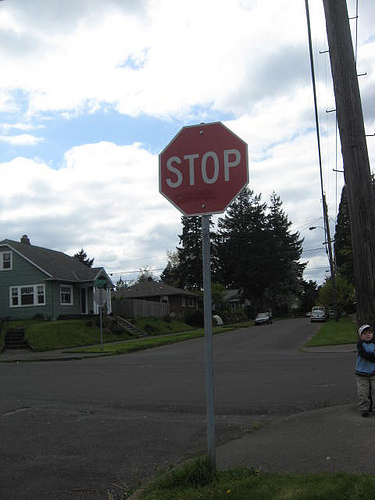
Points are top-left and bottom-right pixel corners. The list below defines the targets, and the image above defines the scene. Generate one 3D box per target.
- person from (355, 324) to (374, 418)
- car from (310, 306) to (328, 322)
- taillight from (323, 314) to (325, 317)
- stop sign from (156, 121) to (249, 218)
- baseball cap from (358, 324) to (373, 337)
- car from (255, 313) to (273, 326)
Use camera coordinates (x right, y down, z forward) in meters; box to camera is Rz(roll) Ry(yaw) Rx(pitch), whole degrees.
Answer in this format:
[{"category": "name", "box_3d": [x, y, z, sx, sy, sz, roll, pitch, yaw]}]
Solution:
[{"category": "person", "box_3d": [2.518, 1.683, 7.679, 0.270, 1.211, 0.581, -5, -7, 16]}, {"category": "car", "box_3d": [13.012, 6.443, 53.763, 0.824, 1.060, 2.507, 1, -1, 19]}, {"category": "taillight", "box_3d": [13.196, 6.356, 52.774, 0.059, 0.213, 0.201, -11, -10, 35]}, {"category": "stop sign", "box_3d": [0.144, -0.653, 4.493, 0.956, 1.038, 0.103, -3, -8, 13]}, {"category": "baseball cap", "box_3d": [2.553, 1.146, 7.888, 0.138, 0.116, 0.226, -6, -44, -5]}, {"category": "car", "box_3d": [7.634, 6.919, 54.383, 1.220, 1.106, 3.160, -4, -13, 13]}]
